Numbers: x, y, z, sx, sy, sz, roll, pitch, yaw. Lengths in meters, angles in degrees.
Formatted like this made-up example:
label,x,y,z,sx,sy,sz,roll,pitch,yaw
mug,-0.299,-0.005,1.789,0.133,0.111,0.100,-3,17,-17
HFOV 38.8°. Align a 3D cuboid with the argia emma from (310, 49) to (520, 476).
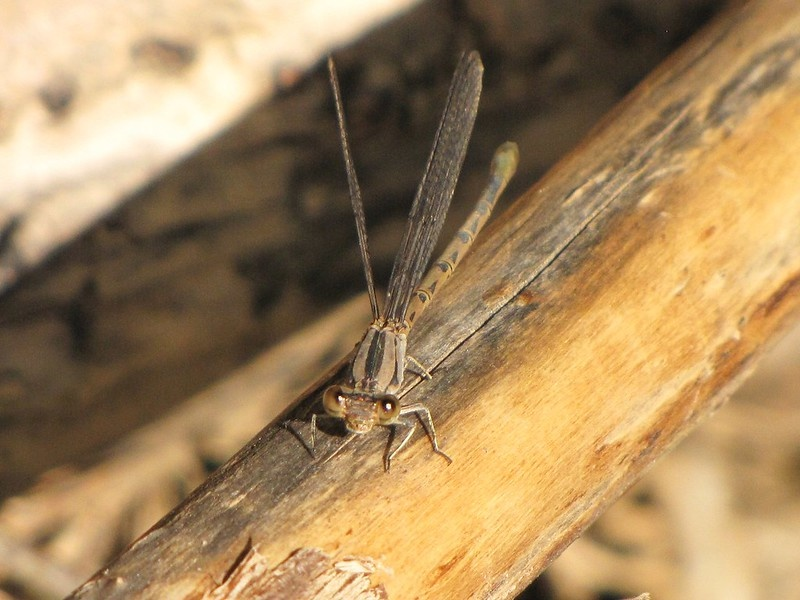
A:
label,x,y,z,sx,sy,sz,roll,pitch,yaw
argia emma,0.089,-0.095,8.074,1.081,1.470,3.035,12,69,5
